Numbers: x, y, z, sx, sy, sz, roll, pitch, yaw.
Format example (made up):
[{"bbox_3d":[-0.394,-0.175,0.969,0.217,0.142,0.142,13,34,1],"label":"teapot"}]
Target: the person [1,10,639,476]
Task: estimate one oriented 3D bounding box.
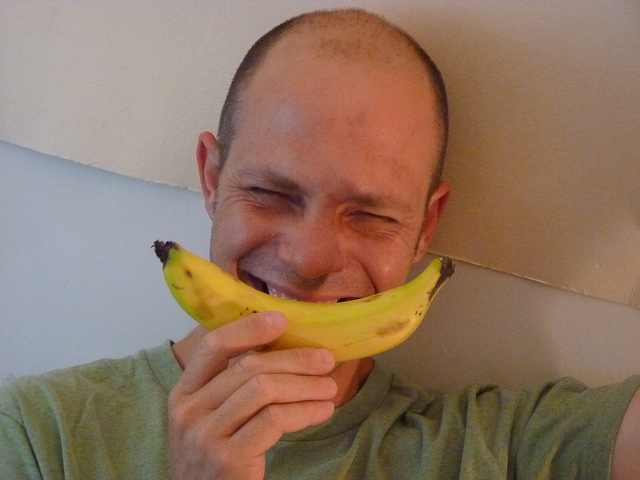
[{"bbox_3d":[-0.015,0.006,2.596,2.122,1.655,0.724,2,5,-5],"label":"person"}]
